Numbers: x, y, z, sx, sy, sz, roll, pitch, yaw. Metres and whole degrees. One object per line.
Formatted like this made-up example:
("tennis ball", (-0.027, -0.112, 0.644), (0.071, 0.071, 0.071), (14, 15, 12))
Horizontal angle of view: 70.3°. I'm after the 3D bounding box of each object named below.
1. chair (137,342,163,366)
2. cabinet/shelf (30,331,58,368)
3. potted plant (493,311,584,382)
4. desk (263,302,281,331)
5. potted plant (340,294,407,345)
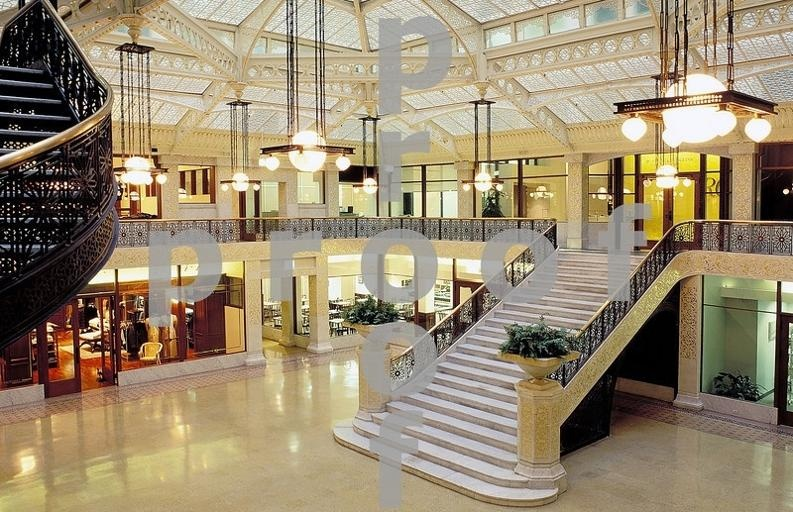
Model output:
("chair", (-7.934, 3.191, 18.348), (0.773, 0.889, 0.663), (0, -3, -7))
("cabinet/shelf", (-10.113, 2.648, 16.272), (0.598, 0.988, 0.546), (-3, -2, -35))
("potted plant", (2.908, 1.986, 11.549), (1.258, 0.954, 1.217), (4, -11, 8))
("desk", (-5.147, 2.430, 23.393), (1.461, 0.919, 0.344), (-1, -3, 32))
("potted plant", (-0.709, 1.527, 14.098), (1.173, 0.738, 1.117), (-3, 4, -24))
